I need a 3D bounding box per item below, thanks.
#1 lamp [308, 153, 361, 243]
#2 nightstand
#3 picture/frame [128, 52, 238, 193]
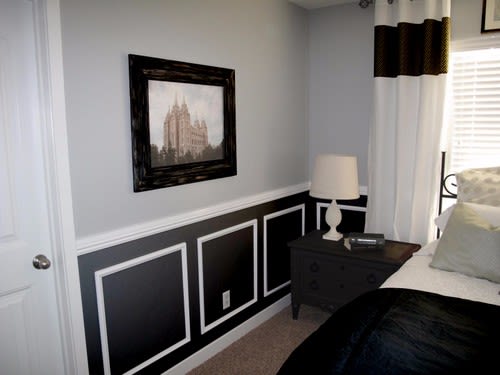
[{"bbox_3d":[0.755,0.082,3.178,0.517,0.920,0.543,5,16,16],"label":"lamp"},{"bbox_3d":[0.711,0.675,2.917,0.889,0.705,0.558,3,7,38],"label":"nightstand"},{"bbox_3d":[-0.475,-0.450,2.441,0.064,0.946,0.884,4,7,42],"label":"picture/frame"}]
